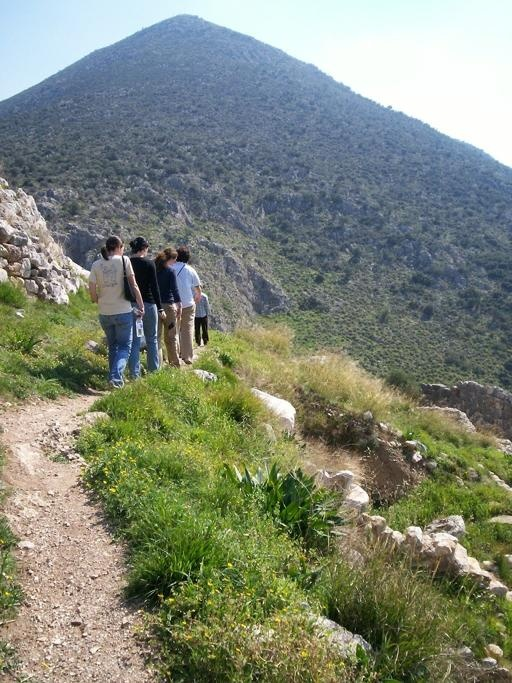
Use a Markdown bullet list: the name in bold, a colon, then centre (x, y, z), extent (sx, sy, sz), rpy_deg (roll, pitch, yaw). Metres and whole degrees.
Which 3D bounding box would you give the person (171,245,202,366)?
- **person**: centre (-0.945, -0.496, 10.325), extent (0.483, 1.492, 0.422), rpy_deg (0, 6, 24)

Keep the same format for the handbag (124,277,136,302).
- **handbag**: centre (-1.385, -0.574, 8.146), extent (0.077, 0.248, 0.249), rpy_deg (-8, 1, -6)

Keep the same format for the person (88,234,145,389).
- **person**: centre (-1.557, -0.330, 8.268), extent (0.592, 1.609, 0.618), rpy_deg (4, 13, -4)
